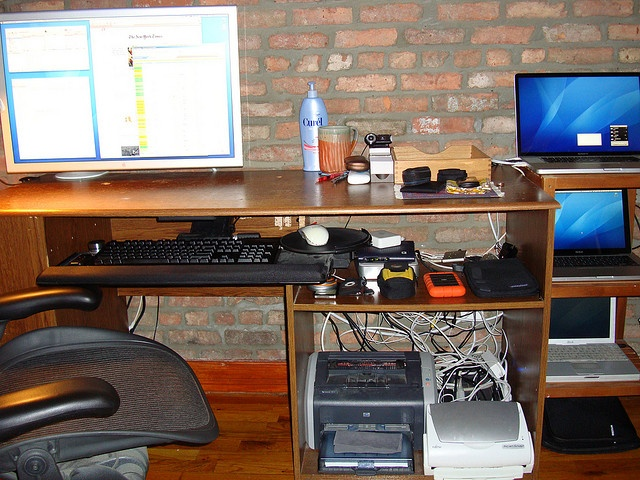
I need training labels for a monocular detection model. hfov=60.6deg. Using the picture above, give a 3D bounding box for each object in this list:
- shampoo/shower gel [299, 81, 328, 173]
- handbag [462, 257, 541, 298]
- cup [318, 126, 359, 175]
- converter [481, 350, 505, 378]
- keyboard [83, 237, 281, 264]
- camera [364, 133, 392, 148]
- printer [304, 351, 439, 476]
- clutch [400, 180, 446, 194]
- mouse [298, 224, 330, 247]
[{"bbox_3d":[-0.045,-0.443,2.129,0.138,0.333,0.137,12,25,33],"label":"shampoo/shower gel"},{"bbox_3d":[0.608,0.129,1.838,0.220,0.089,0.189,-2,12,6],"label":"handbag"},{"bbox_3d":[0.071,-0.351,2.080,0.141,0.156,0.217,17,27,40],"label":"cup"},{"bbox_3d":[0.697,0.494,2.207,0.062,0.020,0.099,-18,22,-8],"label":"converter"},{"bbox_3d":[-0.449,0.041,1.820,0.611,0.073,0.172,-2,12,2],"label":"keyboard"},{"bbox_3d":[0.224,-0.388,2.111,0.096,0.026,0.064,1,60,2],"label":"camera"},{"bbox_3d":[0.175,0.620,1.984,0.512,0.151,0.396,0,43,4],"label":"printer"},{"bbox_3d":[0.342,-0.175,1.823,0.165,0.031,0.112,-6,11,-16],"label":"clutch"},{"bbox_3d":[-0.009,-0.020,1.832,0.074,0.025,0.090,-9,26,-18],"label":"mouse"}]
